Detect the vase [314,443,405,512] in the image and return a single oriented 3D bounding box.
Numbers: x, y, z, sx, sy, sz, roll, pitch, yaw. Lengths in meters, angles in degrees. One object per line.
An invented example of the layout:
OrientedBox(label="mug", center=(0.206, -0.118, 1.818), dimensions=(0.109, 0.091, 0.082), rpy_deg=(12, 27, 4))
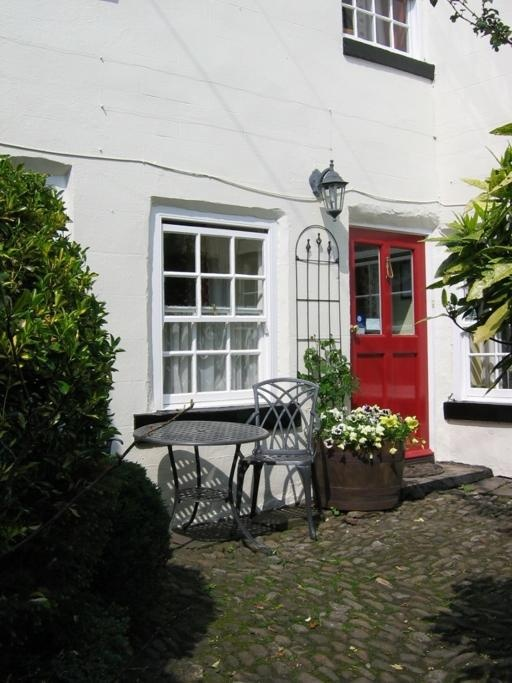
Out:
OrientedBox(label="vase", center=(0.742, 0.984, 4.453), dimensions=(0.527, 0.336, 0.535), rpy_deg=(-3, -5, 36))

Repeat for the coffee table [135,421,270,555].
OrientedBox(label="coffee table", center=(-0.284, 0.904, 3.953), dimensions=(0.934, 0.749, 0.869), rpy_deg=(-3, -8, -27))

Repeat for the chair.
OrientedBox(label="chair", center=(0.174, 0.773, 4.253), dimensions=(0.669, 0.994, 0.592), rpy_deg=(-8, 5, 0))

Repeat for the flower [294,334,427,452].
OrientedBox(label="flower", center=(0.839, 0.482, 5.134), dimensions=(0.810, 0.586, 1.186), rpy_deg=(-2, -9, 20))

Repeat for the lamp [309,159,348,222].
OrientedBox(label="lamp", center=(0.572, -1.171, 4.855), dimensions=(0.260, 0.462, 0.231), rpy_deg=(-3, -2, 4))
